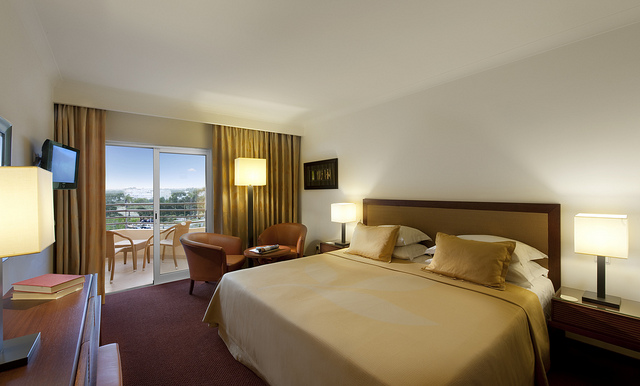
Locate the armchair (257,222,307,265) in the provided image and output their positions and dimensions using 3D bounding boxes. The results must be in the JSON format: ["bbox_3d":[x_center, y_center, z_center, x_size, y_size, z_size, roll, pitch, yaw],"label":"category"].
[{"bbox_3d":[-0.619,0.988,6.886,0.833,0.837,0.779,1,2,21],"label":"armchair"}]

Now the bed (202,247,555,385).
[{"bbox_3d":[0.607,1.550,4.450,3.740,1.131,1.729,0,-1,20],"label":"bed"}]

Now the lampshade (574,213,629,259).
[{"bbox_3d":[3.204,0.487,4.397,0.520,0.463,0.278,-2,-5,32],"label":"lampshade"}]

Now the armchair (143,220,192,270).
[{"bbox_3d":[-2.811,0.949,7.171,0.836,1.067,0.836,4,-6,-10],"label":"armchair"}]

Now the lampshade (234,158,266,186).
[{"bbox_3d":[-1.296,-0.351,7.022,0.366,0.493,0.657,-8,2,8],"label":"lampshade"}]

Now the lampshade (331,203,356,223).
[{"bbox_3d":[0.430,0.330,6.554,0.275,0.312,0.391,-1,-2,42],"label":"lampshade"}]

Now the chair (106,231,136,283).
[{"bbox_3d":[-3.308,0.993,6.438,0.528,0.698,0.485,-2,2,45],"label":"chair"}]

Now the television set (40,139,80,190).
[{"bbox_3d":[-3.255,-0.348,4.840,0.107,0.564,0.792,3,0,-14],"label":"television set"}]

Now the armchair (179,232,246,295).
[{"bbox_3d":[-1.748,1.138,6.312,1.004,0.892,1.028,2,4,30],"label":"armchair"}]
